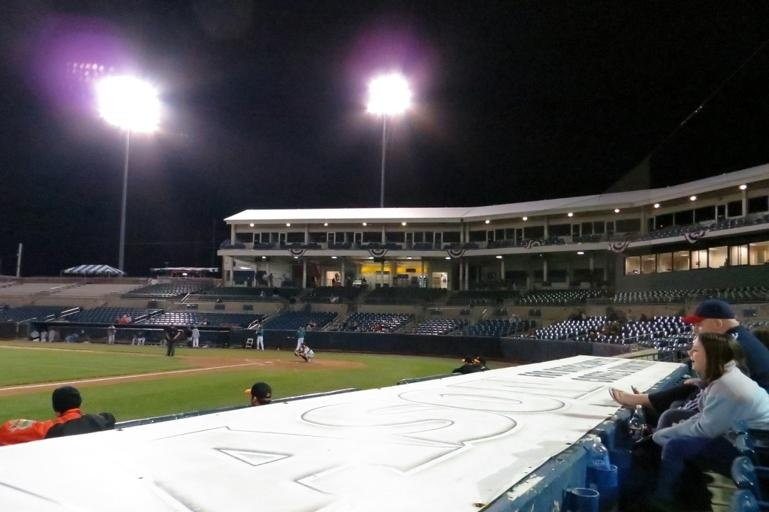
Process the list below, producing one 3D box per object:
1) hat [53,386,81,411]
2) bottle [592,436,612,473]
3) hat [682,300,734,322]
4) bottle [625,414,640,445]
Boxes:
[{"bbox_3d":[-6.566,2.896,11.987,0.471,0.516,0.574,7,-3,-27],"label":"hat"},{"bbox_3d":[4.025,3.627,10.879,0.318,0.527,0.392,-4,3,6],"label":"bottle"},{"bbox_3d":[6.918,1.179,12.351,0.812,0.415,0.523,2,-9,26],"label":"hat"},{"bbox_3d":[5.155,3.556,11.972,0.195,0.352,0.508,-19,18,6],"label":"bottle"}]
